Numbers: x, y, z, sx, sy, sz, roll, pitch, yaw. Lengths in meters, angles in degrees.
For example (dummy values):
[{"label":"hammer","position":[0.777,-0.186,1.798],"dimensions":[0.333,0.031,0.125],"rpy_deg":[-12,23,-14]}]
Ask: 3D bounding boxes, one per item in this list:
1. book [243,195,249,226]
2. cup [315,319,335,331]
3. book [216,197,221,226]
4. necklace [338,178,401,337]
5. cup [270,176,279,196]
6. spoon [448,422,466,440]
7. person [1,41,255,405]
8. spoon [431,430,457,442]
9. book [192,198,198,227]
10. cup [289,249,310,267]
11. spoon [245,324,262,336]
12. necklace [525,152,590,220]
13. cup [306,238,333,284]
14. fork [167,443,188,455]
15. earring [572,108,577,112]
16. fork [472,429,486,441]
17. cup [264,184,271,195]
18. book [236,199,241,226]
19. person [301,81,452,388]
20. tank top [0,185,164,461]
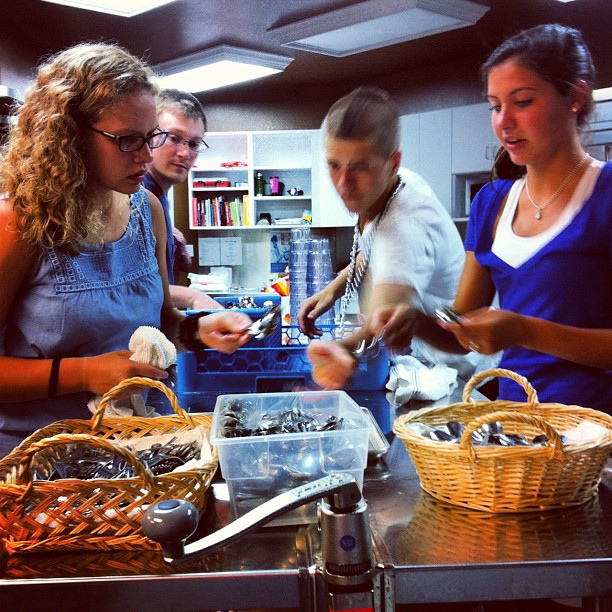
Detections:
[{"label":"book","position":[-0.638,-1.018,6.307],"dimensions":[0.059,0.316,0.079],"rpy_deg":[-1,8,-7]},{"label":"cup","position":[0.057,0.054,1.696],"dimensions":[0.055,0.028,0.076],"rpy_deg":[0,6,0]},{"label":"book","position":[-0.934,-1.013,6.343],"dimensions":[0.039,0.296,0.075],"rpy_deg":[-2,8,-9]},{"label":"necklace","position":[0.137,-0.086,1.364],"dimensions":[0.023,0.311,0.119],"rpy_deg":[10,9,-29]},{"label":"cup","position":[-0.326,-1.268,6.191],"dimensions":[0.091,0.202,0.109],"rpy_deg":[-1,8,-4]},{"label":"spoon","position":[0.260,0.213,1.014],"dimensions":[0.028,0.010,0.031],"rpy_deg":[1,14,-2]},{"label":"person","position":[-0.460,-0.198,1.401],"dimensions":[0.565,0.809,0.555],"rpy_deg":[3,8,21]},{"label":"spoon","position":[0.232,0.217,0.986],"dimensions":[0.047,0.007,0.030],"rpy_deg":[3,7,28]},{"label":"book","position":[-1.188,-1.012,6.363],"dimensions":[0.056,0.300,0.061],"rpy_deg":[-1,8,-5]},{"label":"cup","position":[-0.021,-0.150,1.879],"dimensions":[0.078,0.059,0.068],"rpy_deg":[-2,0,16]},{"label":"spoon","position":[-0.119,0.060,1.353],"dimensions":[0.036,0.008,0.033],"rpy_deg":[-28,20,1]},{"label":"necklace","position":[0.616,-0.284,1.460],"dimensions":[0.034,0.176,0.156],"rpy_deg":[30,51,23]},{"label":"cup","position":[0.042,-0.142,1.837],"dimensions":[0.082,0.136,0.154],"rpy_deg":[0,7,0]},{"label":"fork","position":[-0.213,0.239,0.984],"dimensions":[0.022,0.007,0.031],"rpy_deg":[2,6,14]},{"label":"earring","position":[0.611,-0.445,1.340],"dimensions":[0.009,0.002,0.007],"rpy_deg":[1,-16,4]},{"label":"fork","position":[0.284,0.213,0.967],"dimensions":[0.016,0.004,0.016],"rpy_deg":[-34,27,20]},{"label":"cup","position":[-0.399,-1.238,6.244],"dimensions":[0.073,0.115,0.056],"rpy_deg":[0,8,4]},{"label":"book","position":[-0.730,-1.017,6.369],"dimensions":[0.036,0.285,0.090],"rpy_deg":[-2,8,-9]},{"label":"person","position":[0.166,-0.145,1.374],"dimensions":[0.321,0.612,0.600],"rpy_deg":[0,7,0]},{"label":"tank top","position":[-0.527,0.007,1.455],"dimensions":[0.192,0.616,0.449],"rpy_deg":[3,8,24]}]
